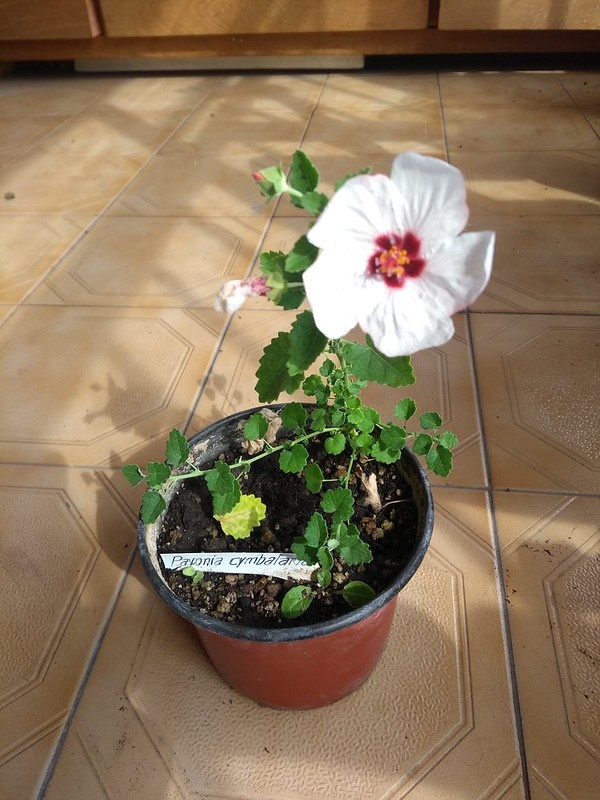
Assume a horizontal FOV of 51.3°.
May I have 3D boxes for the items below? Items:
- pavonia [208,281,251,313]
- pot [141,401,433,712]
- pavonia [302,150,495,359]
[{"bbox_3d":[-0.077,-0.109,0.688,0.031,0.016,0.040,44,93,17],"label":"pavonia"},{"bbox_3d":[0.010,0.306,1.196,0.525,0.361,0.512,-3,40,2],"label":"pot"},{"bbox_3d":[0.093,-0.113,0.599,0.163,0.219,0.137,5,42,7],"label":"pavonia"}]
